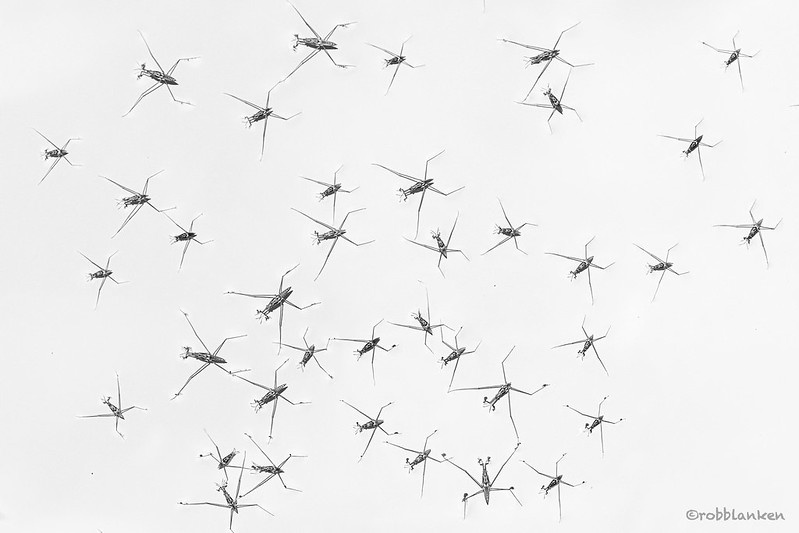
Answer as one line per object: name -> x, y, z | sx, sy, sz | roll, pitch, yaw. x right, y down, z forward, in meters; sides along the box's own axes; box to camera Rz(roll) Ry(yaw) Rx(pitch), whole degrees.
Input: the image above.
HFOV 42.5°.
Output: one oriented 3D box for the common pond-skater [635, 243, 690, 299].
common pond-skater -> 3.137, 0.002, 12.258 | 0.498, 0.501, 0.131 | 5, -10, -38
